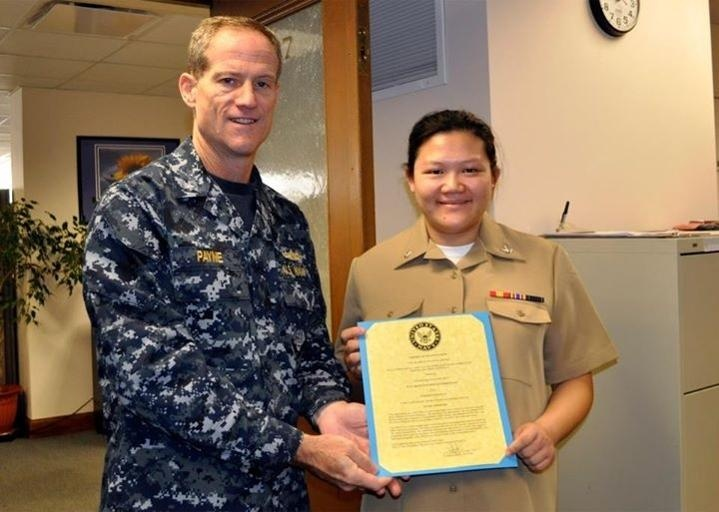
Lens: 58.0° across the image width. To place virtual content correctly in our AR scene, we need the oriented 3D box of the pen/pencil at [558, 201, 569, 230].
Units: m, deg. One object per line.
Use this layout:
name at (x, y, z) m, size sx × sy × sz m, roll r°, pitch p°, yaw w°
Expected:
pen/pencil at (0.991, -0.197, 3.161) m, size 0.019 × 0.149 × 0.018 m, roll 15°, pitch -16°, yaw 9°

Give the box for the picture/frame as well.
picture/frame at (-2.199, -0.661, 6.170) m, size 1.109 × 0.899 × 0.027 m, roll 3°, pitch 2°, yaw 16°
